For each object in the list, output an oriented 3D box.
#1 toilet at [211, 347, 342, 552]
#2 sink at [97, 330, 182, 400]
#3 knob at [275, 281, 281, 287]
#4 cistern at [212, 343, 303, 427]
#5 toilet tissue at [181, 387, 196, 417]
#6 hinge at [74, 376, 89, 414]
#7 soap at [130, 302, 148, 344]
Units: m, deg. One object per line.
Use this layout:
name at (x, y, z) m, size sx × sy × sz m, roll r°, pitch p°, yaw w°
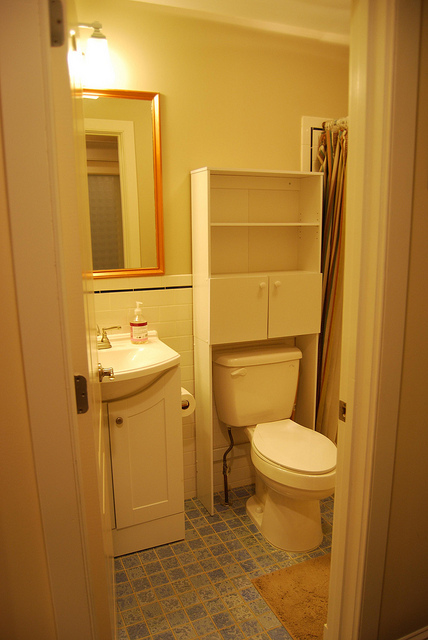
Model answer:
toilet at (0.300, 0.559, 2.135) m, size 0.390 × 0.751 × 0.665 m, roll -6°, pitch 13°, yaw -21°
sink at (-0.310, 0.162, 2.028) m, size 0.329 × 0.119 × 0.325 m, roll 14°, pitch -10°, yaw -7°
knob at (0.281, -0.158, 2.134) m, size 0.035 × 0.026 × 0.009 m, roll -9°, pitch 12°, yaw -41°
cistern at (0.204, 0.281, 2.339) m, size 0.446 × 0.352 × 0.265 m, roll -7°, pitch 19°, yaw -25°
toilet tissue at (-0.109, 0.353, 2.058) m, size 0.050 × 0.128 × 0.143 m, roll -1°, pitch 9°, yaw -1°
hinge at (-0.258, 0.146, 0.949) m, size 0.023 × 0.077 × 0.005 m, roll -6°, pitch 10°, yaw -31°
soap at (-0.325, 0.009, 2.108) m, size 0.076 × 0.168 × 0.123 m, roll -3°, pitch 9°, yaw -10°
